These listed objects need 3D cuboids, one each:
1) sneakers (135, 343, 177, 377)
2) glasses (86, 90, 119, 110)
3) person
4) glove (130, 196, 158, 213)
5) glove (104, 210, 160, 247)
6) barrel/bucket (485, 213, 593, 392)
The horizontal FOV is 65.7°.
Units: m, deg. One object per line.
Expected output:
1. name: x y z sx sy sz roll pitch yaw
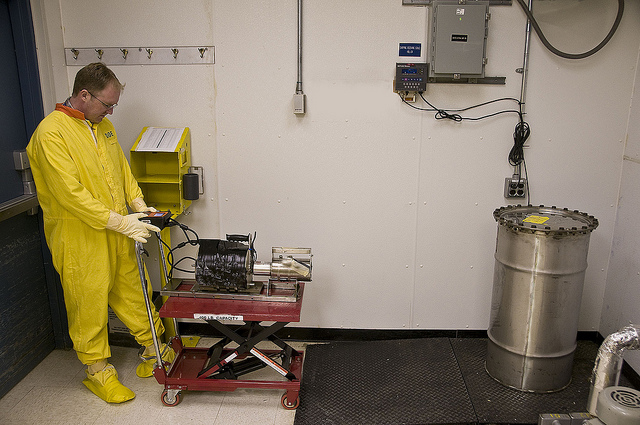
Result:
1. sneakers: -1.292 1.182 3.901 0.248 0.318 0.115 8 -1 0
2. glasses: -1.519 -0.783 3.485 0.082 0.128 0.159 8 15 35
3. person: -1.596 0.153 3.592 0.769 2.378 0.562 -7 13 -28
4. glove: -1.342 -0.036 3.816 0.149 0.042 0.152 9 17 -9
5. glove: -1.334 0.119 3.552 0.344 0.206 0.090 21 -31 -12
6. barrel/bucket: 1.611 0.669 3.689 0.680 1.332 0.405 4 13 22
